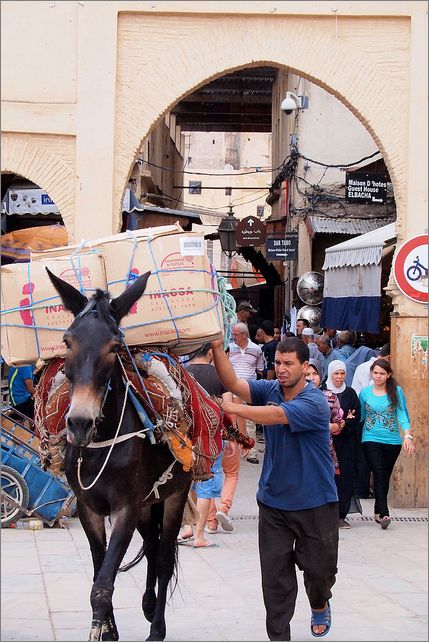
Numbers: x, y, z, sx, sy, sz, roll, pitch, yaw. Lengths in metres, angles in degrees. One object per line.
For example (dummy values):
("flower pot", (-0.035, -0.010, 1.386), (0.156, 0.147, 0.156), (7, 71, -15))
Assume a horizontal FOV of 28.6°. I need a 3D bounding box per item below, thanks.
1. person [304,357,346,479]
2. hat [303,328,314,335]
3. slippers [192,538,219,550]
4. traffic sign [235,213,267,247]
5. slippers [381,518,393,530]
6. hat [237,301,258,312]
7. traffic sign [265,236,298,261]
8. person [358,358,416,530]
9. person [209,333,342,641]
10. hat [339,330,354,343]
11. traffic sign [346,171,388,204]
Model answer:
("person", (0.933, 1.025, 7.647), (0.462, 1.208, 0.349), (-2, 22, 10))
("hat", (1.245, 0.147, 11.465), (0.098, 0.058, 0.099), (13, 6, 31))
("slippers", (-0.081, 1.842, 6.926), (0.197, 0.079, 0.073), (0, 1, -4))
("traffic sign", (0.684, -1.768, 16.578), (0.600, 0.584, 0.348), (2, 6, 1))
("slippers", (1.571, 1.875, 7.765), (0.063, 0.073, 0.171), (0, -6, 0))
("hat", (0.423, -0.192, 11.757), (0.234, 0.119, 0.150), (0, -2, 0))
("traffic sign", (1.267, -1.244, 16.123), (0.688, 0.496, 0.408), (0, -2, 5))
("person", (1.599, 1.170, 8.021), (0.429, 1.559, 1.002), (3, 6, 3))
("person", (0.303, 0.906, 4.156), (0.626, 1.648, 0.625), (3, 6, 6))
("hat", (1.710, 0.213, 10.993), (0.146, 0.137, 0.177), (4, 14, 2))
("traffic sign", (2.080, -1.836, 11.634), (0.454, 0.336, 0.076), (0, 0, -4))
